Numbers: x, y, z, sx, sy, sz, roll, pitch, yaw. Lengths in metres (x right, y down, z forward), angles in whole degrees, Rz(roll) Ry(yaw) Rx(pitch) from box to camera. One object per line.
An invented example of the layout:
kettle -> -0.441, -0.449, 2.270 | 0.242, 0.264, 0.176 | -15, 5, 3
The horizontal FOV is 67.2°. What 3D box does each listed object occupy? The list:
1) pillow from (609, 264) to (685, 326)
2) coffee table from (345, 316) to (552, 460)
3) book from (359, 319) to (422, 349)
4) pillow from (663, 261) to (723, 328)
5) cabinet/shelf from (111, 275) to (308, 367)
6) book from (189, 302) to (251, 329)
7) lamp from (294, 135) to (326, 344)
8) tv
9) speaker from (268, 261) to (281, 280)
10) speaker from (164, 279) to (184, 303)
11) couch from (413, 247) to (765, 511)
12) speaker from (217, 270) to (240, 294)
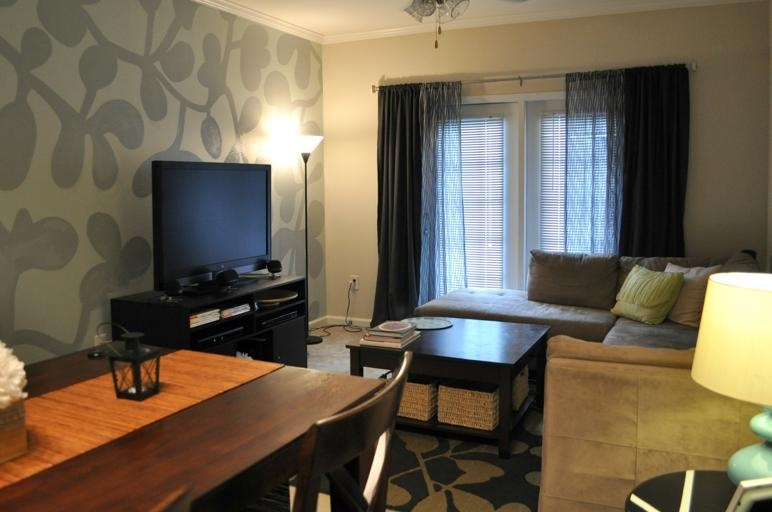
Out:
pillow -> 2.133, 0.325, 4.794 | 0.295, 0.453, 0.514 | 1, 8, -19
coffee table -> 0.671, 0.778, 4.153 | 0.893, 0.500, 1.022 | 1, 3, 25
book -> 0.049, 0.578, 4.239 | 0.304, 0.074, 0.297 | 0, 10, 23
pillow -> 2.054, 0.279, 3.918 | 0.218, 0.392, 0.428 | -8, 6, -12
cabinet/shelf -> -1.354, 0.691, 4.952 | 0.601, 0.827, 1.676 | 0, 3, 23
book -> -1.281, 0.455, 4.507 | 0.068, 0.125, 0.658 | 4, 12, 26
lamp -> -0.815, -0.443, 5.985 | 0.233, 1.337, 0.243 | -4, -8, 16
tv -> -1.440, -0.249, 4.859 | 0.274, 0.973, 1.343 | 6, 9, 24
speaker -> -1.014, 0.140, 5.351 | 0.158, 0.157, 0.143 | -1, 1, -27
speaker -> -1.602, 0.263, 4.386 | 0.119, 0.141, 0.222 | -5, 11, -21
couch -> 1.155, 0.721, 3.384 | 1.433, 0.600, 0.830 | 1, 0, 26
speaker -> -1.267, 0.197, 4.761 | 0.137, 0.183, 0.201 | 0, 6, 18
